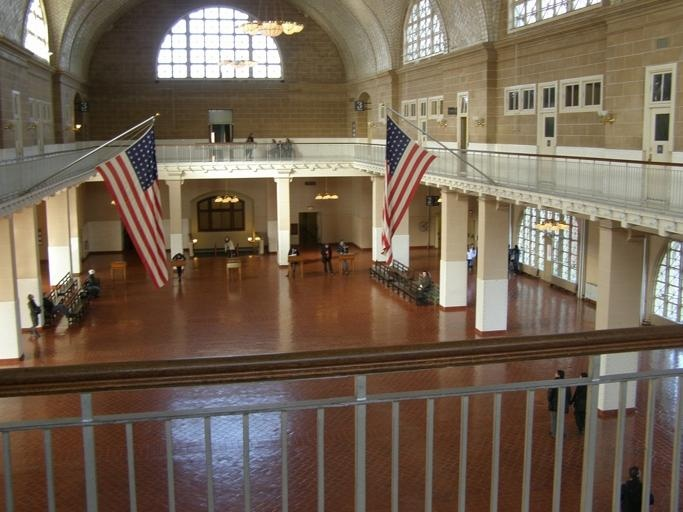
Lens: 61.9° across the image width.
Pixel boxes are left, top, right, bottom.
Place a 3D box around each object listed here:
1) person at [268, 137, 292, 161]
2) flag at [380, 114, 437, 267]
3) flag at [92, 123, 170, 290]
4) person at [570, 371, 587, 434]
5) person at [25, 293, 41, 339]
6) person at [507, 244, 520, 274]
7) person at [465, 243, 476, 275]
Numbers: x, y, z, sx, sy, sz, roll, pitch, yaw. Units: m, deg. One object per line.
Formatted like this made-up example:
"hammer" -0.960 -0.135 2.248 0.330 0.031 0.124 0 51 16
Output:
"person" -3.247 -5.639 31.112 1.482 0.887 1.493 -1 6 -5
"flag" 1.715 -1.809 15.861 1.296 4.175 1.165 -2 3 6
"flag" -4.470 -1.061 12.422 1.113 3.700 1.744 -3 3 -16
"person" 4.772 3.161 11.456 0.256 1.079 0.986 -1 3 22
"person" -10.407 2.050 19.401 0.376 1.450 0.937 -4 3 -28
"person" 8.352 0.234 27.465 0.602 1.297 0.444 -2 3 -4
"person" 6.453 0.195 28.196 0.346 1.255 1.852 -2 3 15
